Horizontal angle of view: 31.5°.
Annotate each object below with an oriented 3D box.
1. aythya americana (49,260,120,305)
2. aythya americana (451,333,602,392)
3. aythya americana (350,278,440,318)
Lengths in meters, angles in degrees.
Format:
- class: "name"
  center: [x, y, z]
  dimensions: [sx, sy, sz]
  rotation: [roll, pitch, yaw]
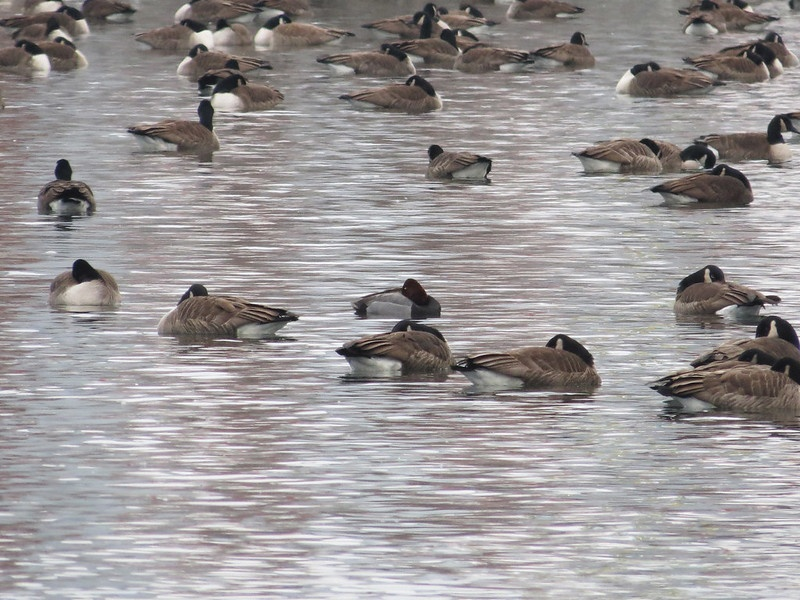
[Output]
- class: "aythya americana"
  center: [-4.720, -0.257, 21.174]
  dimensions: [1.205, 1.287, 0.662]
  rotation: [1, 103, -8]
- class: "aythya americana"
  center: [1.578, 0.814, 17.425]
  dimensions: [1.618, 0.803, 0.686]
  rotation: [-11, 72, -3]
- class: "aythya americana"
  center: [0.010, -0.021, 20.498]
  dimensions: [1.360, 0.338, 0.570]
  rotation: [4, 20, 28]
